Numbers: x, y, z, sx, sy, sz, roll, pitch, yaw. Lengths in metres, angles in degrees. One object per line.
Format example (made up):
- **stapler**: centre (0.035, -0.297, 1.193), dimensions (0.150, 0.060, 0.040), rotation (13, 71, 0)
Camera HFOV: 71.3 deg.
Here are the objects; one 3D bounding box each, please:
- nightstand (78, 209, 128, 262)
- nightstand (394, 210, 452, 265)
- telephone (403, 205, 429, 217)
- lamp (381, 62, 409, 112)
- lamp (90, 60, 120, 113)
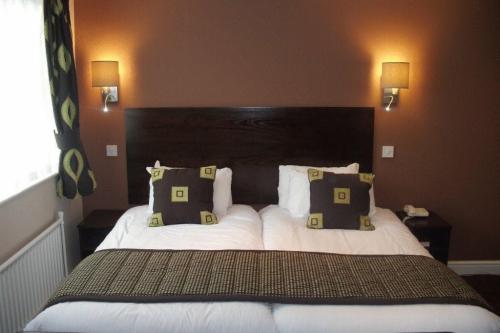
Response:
- **nightstand**: centre (-1.586, 0.639, 3.674), dimensions (0.611, 0.552, 0.459), rotation (-1, 5, -6)
- **nightstand**: centre (1.843, 0.710, 3.676), dimensions (0.384, 0.604, 0.593), rotation (0, 17, 9)
- **telephone**: centre (1.735, 0.462, 3.590), dimensions (0.169, 0.048, 0.150), rotation (-2, 17, 5)
- **lamp**: centre (1.496, -0.816, 3.580), dimensions (0.300, 0.490, 0.185), rotation (2, 14, 4)
- **lamp**: centre (-1.498, -0.818, 3.571), dimensions (0.280, 0.526, 0.193), rotation (-2, 14, -13)
